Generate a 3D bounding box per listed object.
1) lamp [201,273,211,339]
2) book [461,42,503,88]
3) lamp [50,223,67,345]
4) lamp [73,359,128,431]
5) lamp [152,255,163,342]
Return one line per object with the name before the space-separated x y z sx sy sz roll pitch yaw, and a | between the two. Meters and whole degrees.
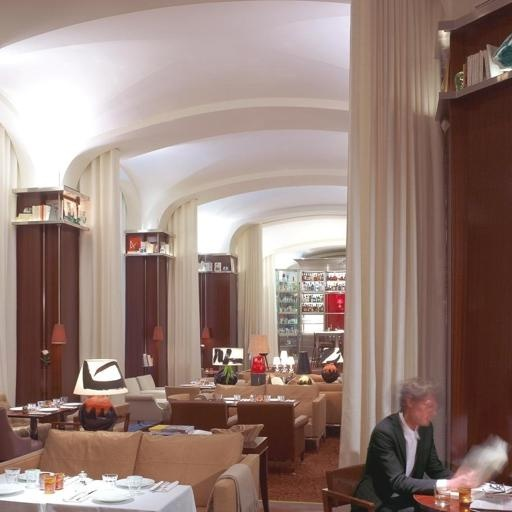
lamp | -1.560 1.655 16.460 0.257 2.200 0.537 -1 -4 -3
book | 1.371 -1.089 3.191 0.185 0.304 0.267 2 2 44
lamp | -2.919 0.426 7.965 0.209 1.735 0.209 5 -6 -36
lamp | -1.373 1.258 4.679 0.393 0.660 0.444 2 -5 -33
lamp | -2.300 1.006 12.370 0.215 2.042 0.546 0 -4 -12
